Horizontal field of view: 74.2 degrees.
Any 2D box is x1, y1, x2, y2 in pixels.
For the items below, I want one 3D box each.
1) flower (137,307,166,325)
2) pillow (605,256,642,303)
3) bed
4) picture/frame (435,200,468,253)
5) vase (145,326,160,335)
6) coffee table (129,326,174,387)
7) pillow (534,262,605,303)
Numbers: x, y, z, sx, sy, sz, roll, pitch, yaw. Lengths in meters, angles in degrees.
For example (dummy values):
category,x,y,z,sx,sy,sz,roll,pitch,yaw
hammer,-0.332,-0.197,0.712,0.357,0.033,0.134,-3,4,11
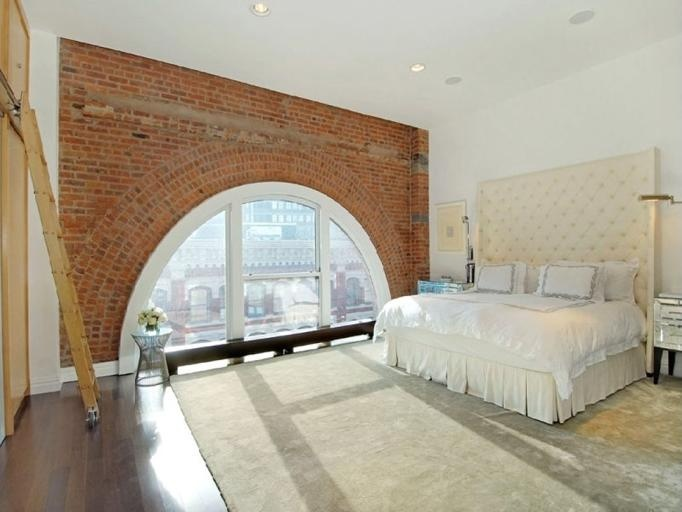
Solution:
category,x,y,z,sx,sy,sz,roll,pitch,yaw
flower,-2.216,0.698,5.222,0.230,0.146,0.227,5,-6,-39
pillow,3.349,0.299,5.421,0.472,0.469,0.146,1,-2,19
bed,2.200,0.172,5.713,2.408,2.723,2.820,-1,2,-42
picture/frame,1.828,-0.454,7.584,0.031,0.843,0.615,-3,1,-40
vase,-2.165,0.842,5.161,0.152,0.088,0.156,-6,15,-21
coffee table,-2.231,1.160,5.301,0.419,0.563,0.431,2,3,29
pillow,2.809,0.319,5.574,0.675,0.194,0.728,-9,31,33
